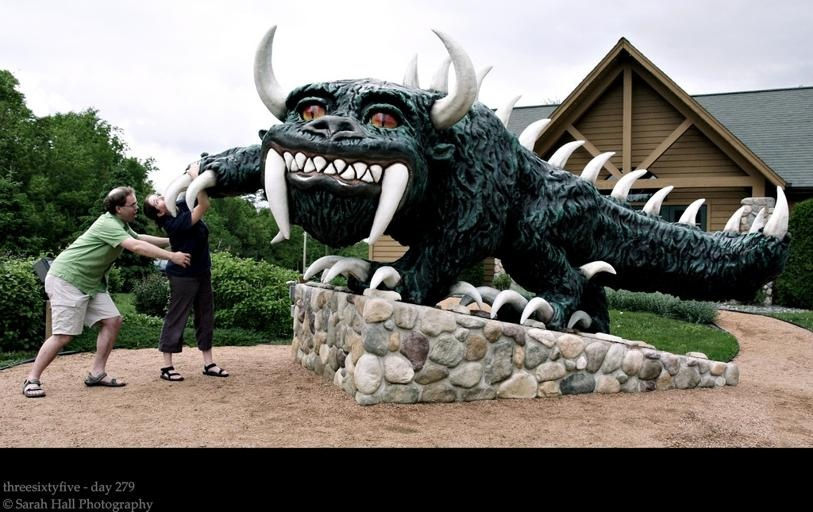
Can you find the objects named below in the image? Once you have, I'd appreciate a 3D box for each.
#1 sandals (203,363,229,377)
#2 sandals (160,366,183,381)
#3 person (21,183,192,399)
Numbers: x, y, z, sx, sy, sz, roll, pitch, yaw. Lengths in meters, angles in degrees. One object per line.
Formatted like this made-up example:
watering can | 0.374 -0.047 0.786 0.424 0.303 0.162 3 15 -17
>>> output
sandals | -2.334 1.413 7.936 0.330 0.141 0.144 0 1 3
sandals | -2.795 1.407 7.663 0.142 0.116 0.294 0 -1 -39
person | -3.544 0.367 7.279 1.563 2.253 0.521 -5 14 -26
